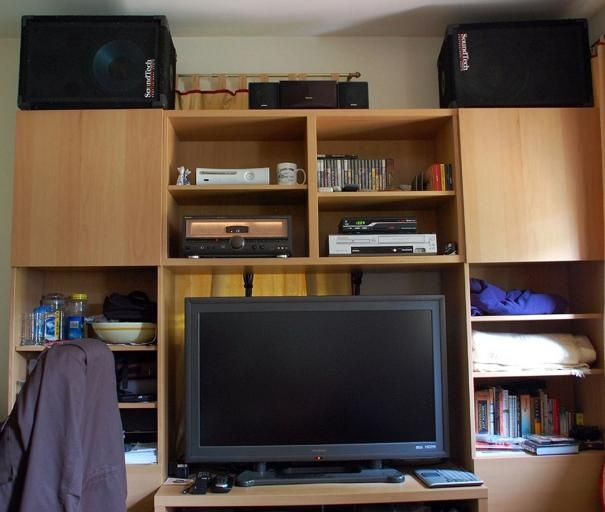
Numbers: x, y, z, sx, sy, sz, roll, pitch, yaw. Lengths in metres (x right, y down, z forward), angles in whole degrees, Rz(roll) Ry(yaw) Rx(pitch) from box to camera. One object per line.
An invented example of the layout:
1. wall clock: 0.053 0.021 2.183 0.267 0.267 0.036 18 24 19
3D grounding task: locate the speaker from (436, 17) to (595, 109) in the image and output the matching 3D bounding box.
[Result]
1. speaker: 1.083 -0.964 3.099 0.735 0.503 0.423 0 -5 1

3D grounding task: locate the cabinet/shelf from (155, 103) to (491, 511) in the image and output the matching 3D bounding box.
1. cabinet/shelf: 0.097 0.299 3.018 1.749 2.523 0.797 0 -6 -6

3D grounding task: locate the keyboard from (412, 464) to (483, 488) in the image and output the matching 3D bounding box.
1. keyboard: 0.678 1.034 2.897 0.285 0.034 0.257 -1 -4 -4

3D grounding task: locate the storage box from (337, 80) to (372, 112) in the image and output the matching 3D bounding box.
1. storage box: 0.264 -0.816 3.120 0.193 0.180 0.118 0 -7 -1

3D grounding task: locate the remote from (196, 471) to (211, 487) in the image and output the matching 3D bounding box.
1. remote: -0.447 1.023 2.820 0.044 0.065 0.058 2 0 2

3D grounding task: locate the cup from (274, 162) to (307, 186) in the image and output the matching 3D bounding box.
1. cup: -0.047 -0.414 3.177 0.175 0.131 0.111 2 -9 -16

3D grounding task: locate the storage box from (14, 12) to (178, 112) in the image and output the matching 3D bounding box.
1. storage box: -1.036 -0.954 3.014 0.650 0.462 0.460 0 -2 -3

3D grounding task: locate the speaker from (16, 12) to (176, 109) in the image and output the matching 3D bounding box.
1. speaker: -1.020 -0.951 3.014 0.634 0.450 0.464 0 -2 -3

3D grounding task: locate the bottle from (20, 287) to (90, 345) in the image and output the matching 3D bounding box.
1. bottle: -1.169 0.302 3.034 0.280 0.309 0.201 2 -5 -1

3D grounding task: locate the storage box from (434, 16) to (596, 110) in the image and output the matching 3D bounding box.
1. storage box: 1.094 -0.971 3.099 0.734 0.503 0.423 0 -6 1
